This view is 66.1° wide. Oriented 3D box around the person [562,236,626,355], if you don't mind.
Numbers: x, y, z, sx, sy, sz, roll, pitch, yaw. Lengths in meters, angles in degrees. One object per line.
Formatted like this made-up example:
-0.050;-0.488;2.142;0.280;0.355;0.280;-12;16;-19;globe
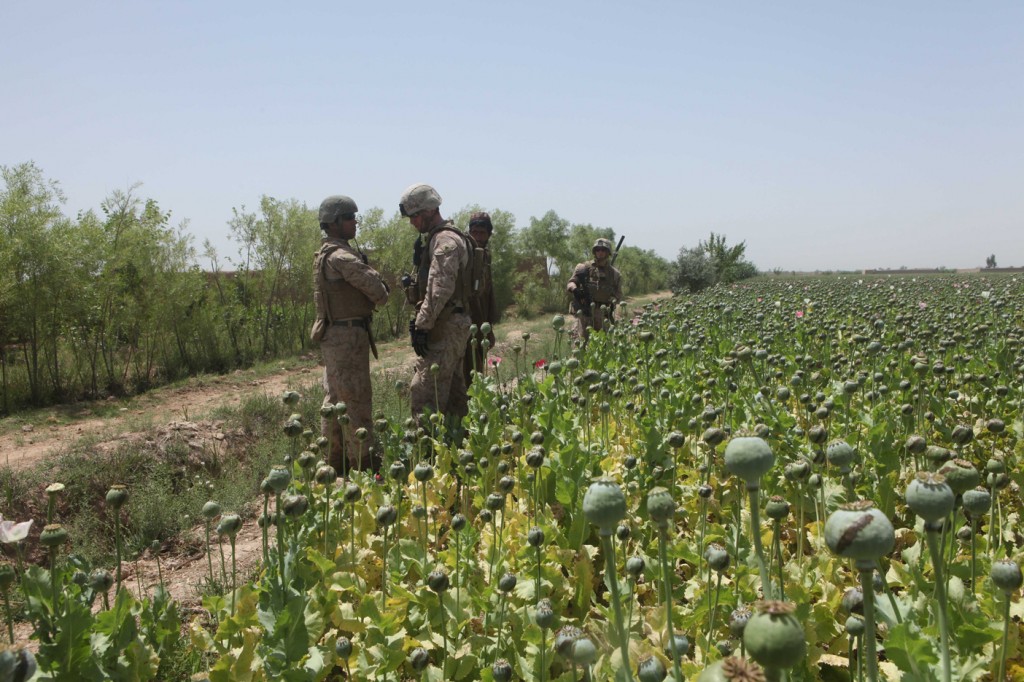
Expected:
1.378;-0.524;12.741;0.768;2.048;0.867;0;-1;-1;person

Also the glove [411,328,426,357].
-0.973;0.013;8.321;0.083;0.264;0.177;9;2;-39;glove

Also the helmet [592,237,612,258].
1.449;-1.534;12.640;0.238;0.264;0.407;-1;-10;12;helmet
